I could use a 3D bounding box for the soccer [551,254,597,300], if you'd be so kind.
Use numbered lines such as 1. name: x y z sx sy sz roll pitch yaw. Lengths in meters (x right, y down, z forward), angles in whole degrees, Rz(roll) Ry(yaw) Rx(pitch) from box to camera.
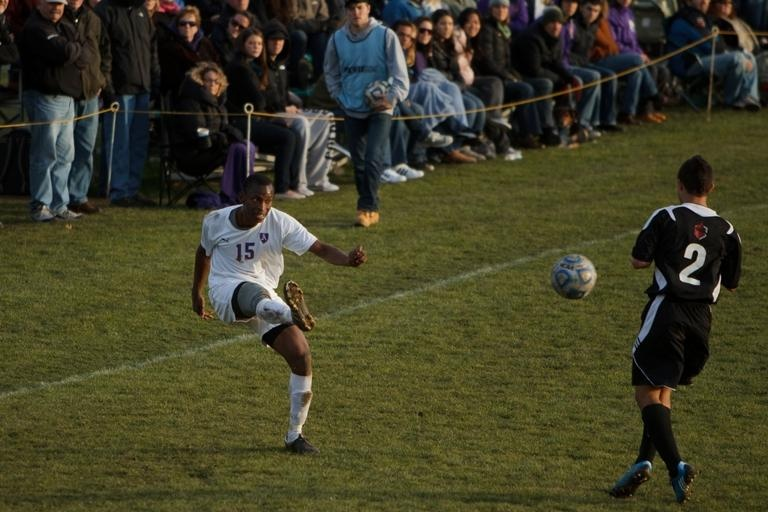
1. soccer: 2.132 0.223 17.378 0.504 0.547 0.531 -6 11 -7

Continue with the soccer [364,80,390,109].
1. soccer: -0.086 -2.074 19.535 0.305 0.331 0.124 0 9 -3
